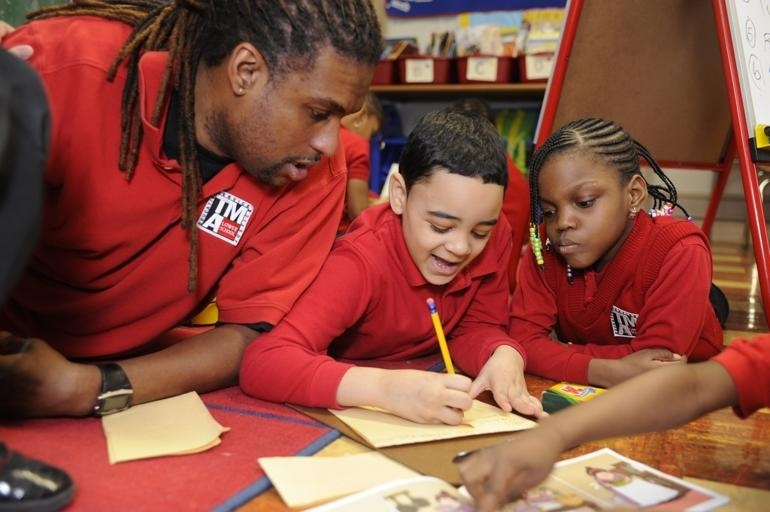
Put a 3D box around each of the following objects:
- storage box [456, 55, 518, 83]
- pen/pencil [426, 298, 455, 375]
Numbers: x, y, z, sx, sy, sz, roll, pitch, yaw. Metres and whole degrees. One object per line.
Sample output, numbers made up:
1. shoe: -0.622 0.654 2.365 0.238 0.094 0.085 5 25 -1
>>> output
1. storage box: 0.600 -1.117 3.540 0.240 0.102 0.198 0 7 3
2. pen/pencil: 0.133 0.185 1.394 0.019 0.185 0.016 -16 -18 -13
